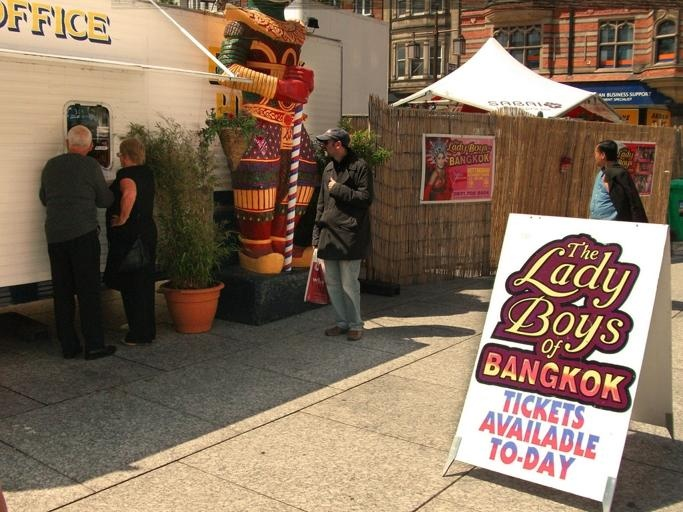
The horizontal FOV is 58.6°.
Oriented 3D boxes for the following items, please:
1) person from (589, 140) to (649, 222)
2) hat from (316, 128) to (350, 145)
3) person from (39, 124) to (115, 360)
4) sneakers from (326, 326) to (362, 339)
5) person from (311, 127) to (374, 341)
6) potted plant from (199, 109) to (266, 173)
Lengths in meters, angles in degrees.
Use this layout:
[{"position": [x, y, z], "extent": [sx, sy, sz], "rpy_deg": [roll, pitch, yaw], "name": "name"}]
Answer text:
[{"position": [2.972, -0.832, 6.614], "extent": [0.358, 0.844, 0.731], "rpy_deg": [-1, 11, -5], "name": "person"}, {"position": [-0.093, -1.262, 6.385], "extent": [0.331, 0.140, 0.202], "rpy_deg": [3, 10, -6], "name": "hat"}, {"position": [-2.497, -0.133, 5.847], "extent": [0.627, 2.221, 0.495], "rpy_deg": [-5, 13, -24], "name": "person"}, {"position": [0.008, 0.831, 6.600], "extent": [0.411, 0.153, 0.140], "rpy_deg": [8, 8, 6], "name": "sneakers"}, {"position": [-0.004, -0.226, 6.473], "extent": [0.625, 2.217, 0.430], "rpy_deg": [8, 14, 33], "name": "person"}, {"position": [-1.302, -1.431, 7.297], "extent": [0.779, 0.663, 0.846], "rpy_deg": [8, 20, 24], "name": "potted plant"}]
